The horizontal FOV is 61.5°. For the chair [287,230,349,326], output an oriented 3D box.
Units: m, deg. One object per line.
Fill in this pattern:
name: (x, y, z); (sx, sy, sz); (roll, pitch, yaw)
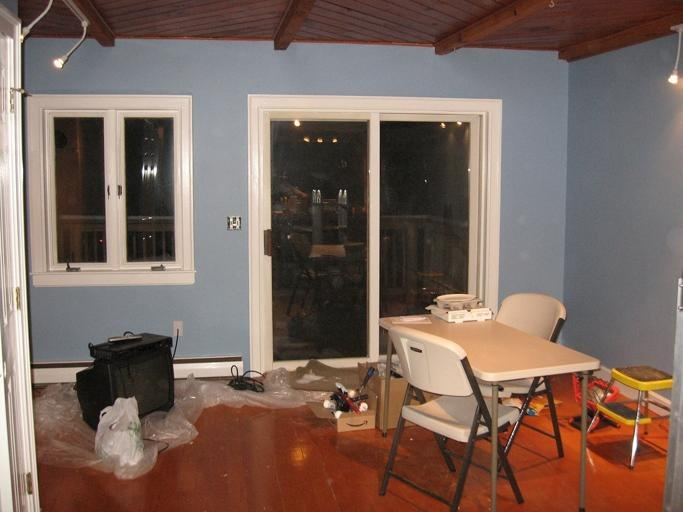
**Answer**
chair: (-0.290, 0.179, 5.703); (0.739, 1.004, 0.774); (0, 8, 5)

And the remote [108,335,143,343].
remote: (-1.665, 0.616, 4.408); (0.232, 0.039, 0.283); (-4, 3, -23)

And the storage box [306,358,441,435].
storage box: (0.210, 1.102, 4.360); (0.754, 0.335, 0.539); (-7, 13, -34)
